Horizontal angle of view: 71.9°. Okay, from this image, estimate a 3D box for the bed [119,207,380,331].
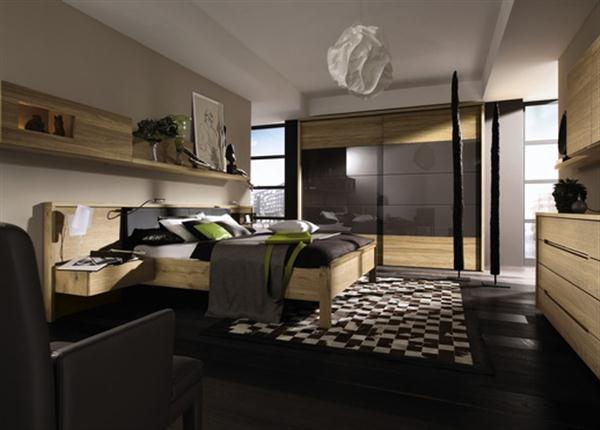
[{"bbox_3d":[-0.360,0.495,4.008,1.543,0.654,1.435,0,0,22],"label":"bed"}]

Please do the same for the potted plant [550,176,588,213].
[{"bbox_3d":[2.492,-0.182,3.688,0.333,0.329,0.329,0,-4,-2],"label":"potted plant"}]

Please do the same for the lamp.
[{"bbox_3d":[0.539,-1.429,3.749,0.605,0.626,0.214,-14,12,9],"label":"lamp"}]

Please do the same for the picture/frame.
[{"bbox_3d":[-1.175,-1.065,5.428,0.199,1.008,0.715,3,11,17],"label":"picture/frame"}]

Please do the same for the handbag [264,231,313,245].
[{"bbox_3d":[-0.095,0.224,3.818,0.408,0.069,0.295,0,10,2],"label":"handbag"}]
